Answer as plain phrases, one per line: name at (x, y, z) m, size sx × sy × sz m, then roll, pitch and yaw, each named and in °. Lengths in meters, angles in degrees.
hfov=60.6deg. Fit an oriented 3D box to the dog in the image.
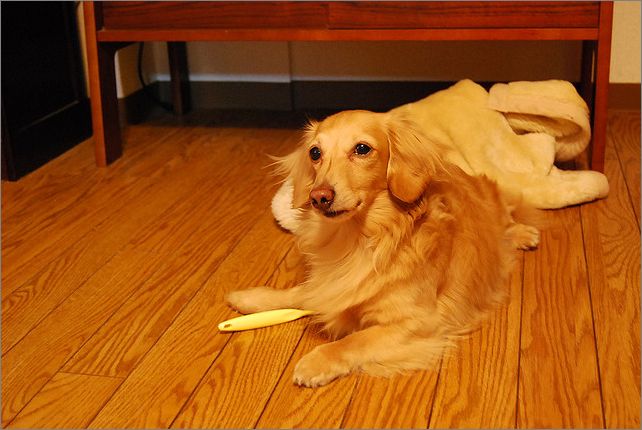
dog at (0.285, -0.045, 2.229) m, size 0.904 × 0.782 × 1.554 m, roll 8°, pitch 20°, yaw 29°
